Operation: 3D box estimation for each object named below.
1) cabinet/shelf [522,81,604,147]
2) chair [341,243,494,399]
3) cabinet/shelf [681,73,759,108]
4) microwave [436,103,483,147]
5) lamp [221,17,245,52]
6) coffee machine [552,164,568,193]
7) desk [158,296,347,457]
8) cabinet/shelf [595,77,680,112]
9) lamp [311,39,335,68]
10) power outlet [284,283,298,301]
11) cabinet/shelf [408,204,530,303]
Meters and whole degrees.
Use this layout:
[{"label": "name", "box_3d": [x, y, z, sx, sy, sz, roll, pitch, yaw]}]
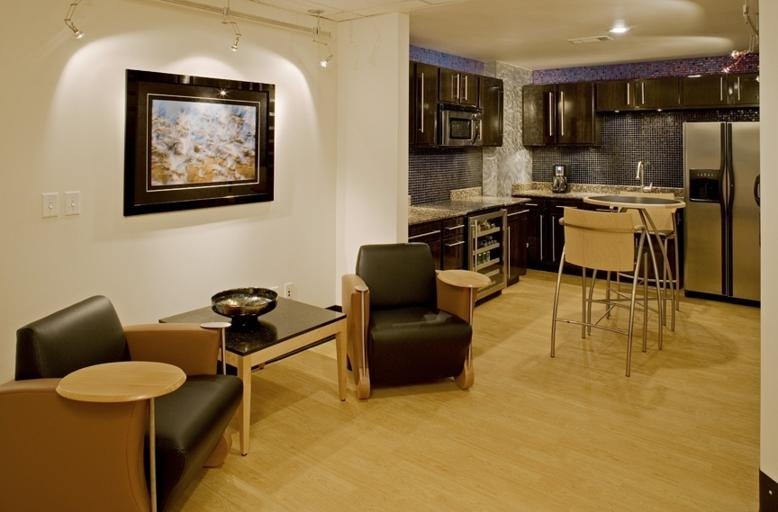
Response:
[{"label": "cabinet/shelf", "box_3d": [2.372, -2.029, 8.147, 0.957, 0.862, 0.457, -2, 4, -1]}, {"label": "chair", "box_3d": [0.158, 0.498, 4.795, 1.133, 1.124, 1.037, -3, 8, -20]}, {"label": "cabinet/shelf", "box_3d": [4.140, -2.000, 7.110, 0.889, 0.447, 0.498, 2, -14, 18]}, {"label": "microwave", "box_3d": [0.797, -1.531, 6.744, 0.692, 0.427, 0.432, -6, 8, -37]}, {"label": "lamp", "box_3d": [-1.338, -1.919, 4.825, 0.058, 0.272, 0.206, 6, 14, 40]}, {"label": "coffee machine", "box_3d": [2.510, -1.155, 8.234, 0.214, 0.399, 0.137, 0, 11, 14]}, {"label": "desk", "box_3d": [-1.065, 0.845, 4.410, 1.282, 0.682, 1.327, -8, 11, -32]}, {"label": "cabinet/shelf", "box_3d": [3.355, -2.123, 7.610, 1.037, 0.451, 0.501, 2, -7, 19]}, {"label": "lamp", "box_3d": [-0.634, -2.024, 5.567, 0.067, 0.278, 0.260, 5, 13, 34]}, {"label": "power outlet", "box_3d": [-0.962, 0.340, 5.460, 0.019, 0.088, 0.150, 1, -22, 28]}, {"label": "cabinet/shelf", "box_3d": [0.908, -0.056, 6.825, 0.787, 1.110, 2.181, 7, 14, 36]}]
